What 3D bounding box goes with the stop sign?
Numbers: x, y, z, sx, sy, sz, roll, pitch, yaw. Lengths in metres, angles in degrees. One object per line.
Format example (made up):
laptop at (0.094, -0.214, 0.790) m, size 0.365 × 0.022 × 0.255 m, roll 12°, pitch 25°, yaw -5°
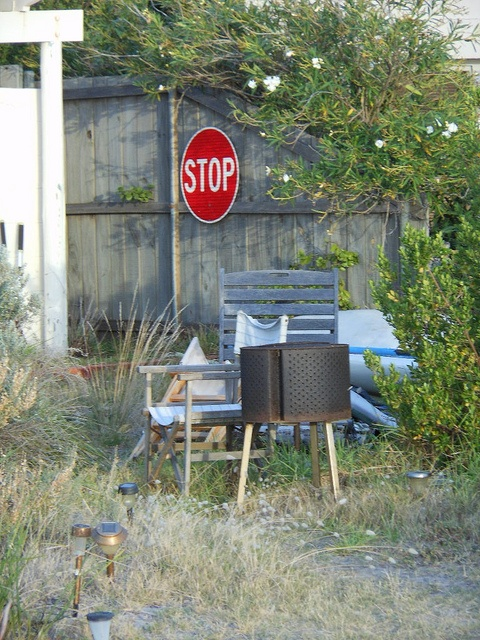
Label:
stop sign at (-0.305, -1.400, 7.011) m, size 0.600 × 0.905 × 0.102 m, roll 2°, pitch 4°, yaw 28°
